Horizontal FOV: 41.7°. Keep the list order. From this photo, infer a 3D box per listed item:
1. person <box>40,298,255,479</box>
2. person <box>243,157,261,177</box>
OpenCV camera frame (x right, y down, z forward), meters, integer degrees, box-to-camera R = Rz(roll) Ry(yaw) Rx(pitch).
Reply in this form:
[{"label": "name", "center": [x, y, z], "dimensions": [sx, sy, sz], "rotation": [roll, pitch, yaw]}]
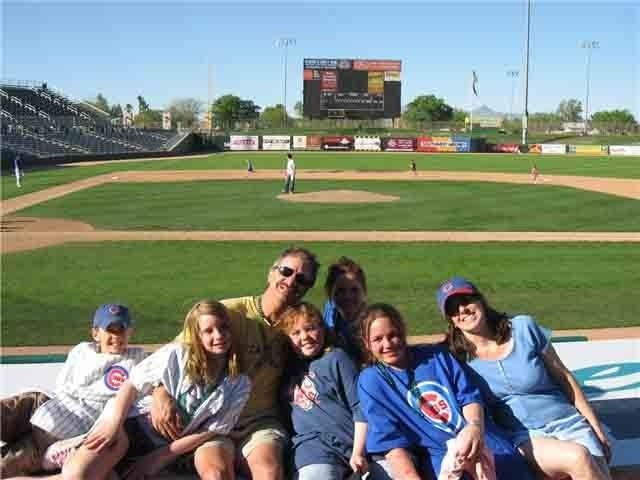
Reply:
[{"label": "person", "center": [-1.269, 1.319, 7.444], "dimensions": [1.326, 1.522, 0.331], "rotation": [-2, 9, -10]}, {"label": "person", "center": [-3.062, -3.420, 38.728], "dimensions": [0.548, 0.785, 1.902], "rotation": [4, 25, -11]}]
